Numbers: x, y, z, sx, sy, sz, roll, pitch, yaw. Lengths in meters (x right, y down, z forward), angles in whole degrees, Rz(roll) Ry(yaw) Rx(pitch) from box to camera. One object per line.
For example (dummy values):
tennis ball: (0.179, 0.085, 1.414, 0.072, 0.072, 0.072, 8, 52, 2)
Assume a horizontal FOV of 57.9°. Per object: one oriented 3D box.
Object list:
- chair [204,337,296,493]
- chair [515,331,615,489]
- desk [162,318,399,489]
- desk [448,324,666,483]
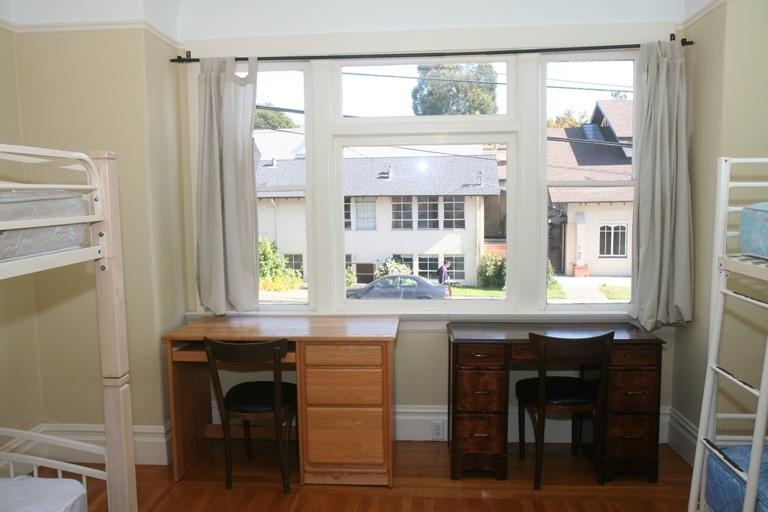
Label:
chair: (-0.902, 1.058, 4.969, 0.597, 1.073, 0.662, -2, 7, -8)
chair: (1.279, 1.026, 4.946, 0.651, 1.093, 0.566, -1, 7, 5)
desk: (-0.696, 1.056, 5.094, 1.528, 1.033, 0.788, 0, 3, -2)
desk: (1.203, 1.111, 5.133, 1.497, 0.999, 0.733, 1, -2, -6)
